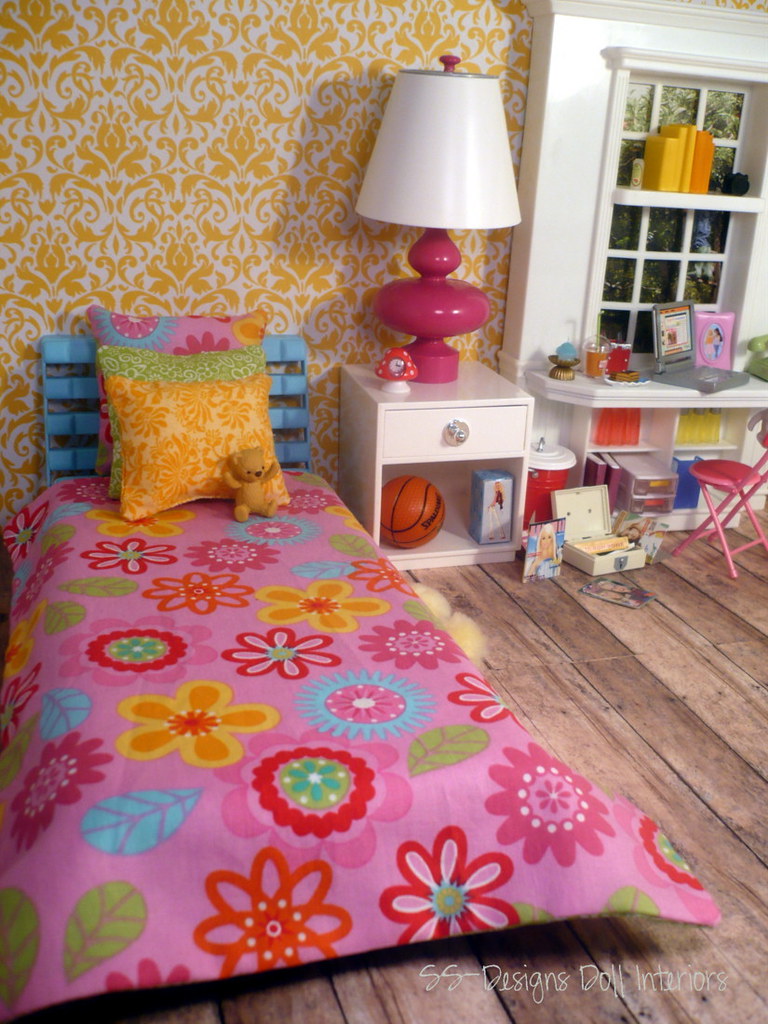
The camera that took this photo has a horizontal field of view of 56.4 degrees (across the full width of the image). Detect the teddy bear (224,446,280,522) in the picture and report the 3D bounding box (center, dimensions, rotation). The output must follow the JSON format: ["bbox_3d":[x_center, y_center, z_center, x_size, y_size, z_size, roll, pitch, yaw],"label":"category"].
[{"bbox_3d":[-0.388,-0.078,2.058,0.162,0.196,0.132,-15,33,-42],"label":"teddy bear"}]

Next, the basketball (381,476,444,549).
[{"bbox_3d":[0.088,-0.001,2.686,0.201,0.243,0.243,-4,23,-20],"label":"basketball"}]

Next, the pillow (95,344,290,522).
[{"bbox_3d":[-0.578,-0.222,2.080,0.504,0.447,0.251,-8,23,-23],"label":"pillow"}]

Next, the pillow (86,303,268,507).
[{"bbox_3d":[-0.651,-0.363,2.240,0.649,0.643,0.412,-7,25,-26],"label":"pillow"}]

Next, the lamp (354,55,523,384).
[{"bbox_3d":[0.135,-0.997,2.599,0.600,1.108,0.577,-10,27,-27],"label":"lamp"}]

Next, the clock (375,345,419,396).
[{"bbox_3d":[0.012,-0.509,2.540,0.173,0.179,0.170,0,19,-6],"label":"clock"}]
